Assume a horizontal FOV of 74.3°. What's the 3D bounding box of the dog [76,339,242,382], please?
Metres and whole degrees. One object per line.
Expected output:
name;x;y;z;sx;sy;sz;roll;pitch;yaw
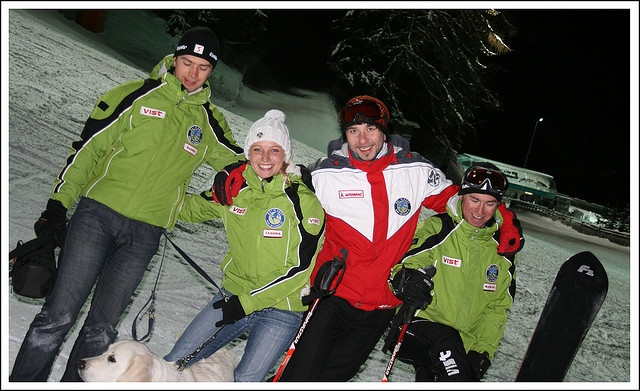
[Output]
dog;-1.840;1.856;4.742;1.172;0.370;0.557;4;-39;-21

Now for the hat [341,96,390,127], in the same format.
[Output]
hat;0.614;-1.121;5.696;0.610;0.325;0.705;-10;-2;33

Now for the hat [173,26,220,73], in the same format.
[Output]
hat;-1.650;-1.983;5.753;0.594;0.549;0.534;23;-7;-19

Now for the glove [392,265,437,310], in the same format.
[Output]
glove;1.167;1.102;5.313;0.553;0.527;0.223;18;-2;-27

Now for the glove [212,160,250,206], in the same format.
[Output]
glove;-1.038;-0.119;5.309;0.433;0.548;0.195;11;-29;44

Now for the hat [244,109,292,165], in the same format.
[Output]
hat;-0.655;-0.773;5.428;0.592;0.656;0.721;5;28;6

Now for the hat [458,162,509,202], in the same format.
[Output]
hat;2.229;-0.214;5.817;0.551;0.571;0.721;12;-8;6
